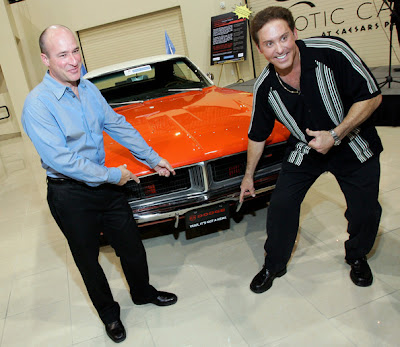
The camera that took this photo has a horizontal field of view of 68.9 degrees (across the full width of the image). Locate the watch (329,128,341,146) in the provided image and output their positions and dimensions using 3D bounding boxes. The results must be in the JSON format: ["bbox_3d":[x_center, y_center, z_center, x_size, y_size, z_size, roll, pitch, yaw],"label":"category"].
[{"bbox_3d":[0.744,-0.203,1.616,0.053,0.081,0.083,-26,18,0],"label":"watch"}]

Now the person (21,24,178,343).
[{"bbox_3d":[-0.594,0.108,1.845,0.524,1.913,0.759,7,30,31],"label":"person"}]

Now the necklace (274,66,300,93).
[{"bbox_3d":[0.511,-0.554,1.725,0.133,0.155,0.039,-30,11,18],"label":"necklace"}]

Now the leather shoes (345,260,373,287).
[{"bbox_3d":[1.117,0.678,2.048,0.096,0.088,0.234,-7,14,5],"label":"leather shoes"}]

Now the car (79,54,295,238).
[{"bbox_3d":[-0.272,-0.406,3.282,1.589,0.879,2.520,-20,35,-10],"label":"car"}]

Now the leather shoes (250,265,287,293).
[{"bbox_3d":[0.504,0.749,2.186,0.316,0.115,0.124,-29,31,-22],"label":"leather shoes"}]

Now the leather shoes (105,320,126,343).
[{"bbox_3d":[-0.557,1.043,1.931,0.084,0.066,0.176,-12,11,-30],"label":"leather shoes"}]

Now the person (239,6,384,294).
[{"bbox_3d":[0.733,-0.014,1.919,0.856,1.657,0.506,-4,26,10],"label":"person"}]
